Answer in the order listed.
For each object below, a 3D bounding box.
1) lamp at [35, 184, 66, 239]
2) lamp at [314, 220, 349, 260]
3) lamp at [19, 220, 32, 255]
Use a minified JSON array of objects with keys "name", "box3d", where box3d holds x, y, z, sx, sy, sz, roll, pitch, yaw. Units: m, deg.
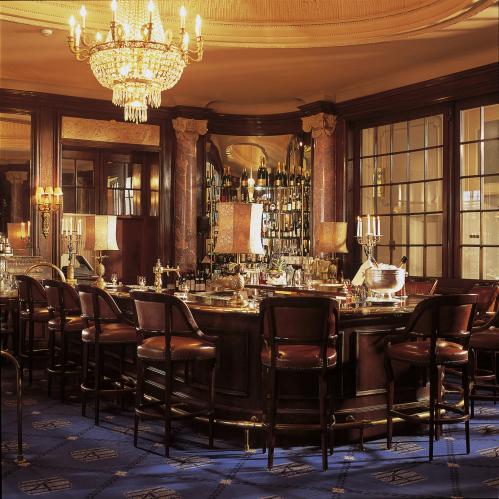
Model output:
[{"name":"lamp","box3d":[-3.005,-0.564,7.814,0.370,0.777,0.280,1,-3,-23]},{"name":"lamp","box3d":[1.006,-0.102,6.386,0.516,0.515,0.512,1,-3,8]},{"name":"lamp","box3d":[-3.426,-0.186,8.037,0.103,0.488,0.188,2,-3,-32]}]
